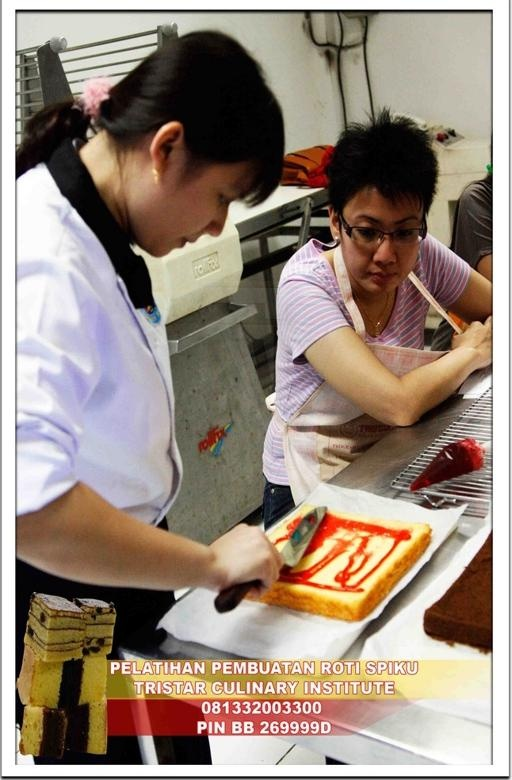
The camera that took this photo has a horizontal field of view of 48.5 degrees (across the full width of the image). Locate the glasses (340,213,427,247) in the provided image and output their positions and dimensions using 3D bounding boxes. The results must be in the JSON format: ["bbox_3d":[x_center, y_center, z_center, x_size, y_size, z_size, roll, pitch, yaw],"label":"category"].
[{"bbox_3d":[0.238,-0.305,1.082,0.147,0.058,0.061,-5,28,8],"label":"glasses"}]

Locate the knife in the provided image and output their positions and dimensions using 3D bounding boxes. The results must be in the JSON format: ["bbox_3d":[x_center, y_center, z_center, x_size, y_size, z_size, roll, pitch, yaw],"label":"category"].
[{"bbox_3d":[0.017,0.177,0.662,0.045,0.024,0.281,7,17,20],"label":"knife"}]

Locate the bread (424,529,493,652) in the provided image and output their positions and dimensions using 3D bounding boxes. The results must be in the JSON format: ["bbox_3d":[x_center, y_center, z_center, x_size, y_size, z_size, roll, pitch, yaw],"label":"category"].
[{"bbox_3d":[0.231,0.220,0.600,0.070,0.018,0.134,0,9,34],"label":"bread"}]
